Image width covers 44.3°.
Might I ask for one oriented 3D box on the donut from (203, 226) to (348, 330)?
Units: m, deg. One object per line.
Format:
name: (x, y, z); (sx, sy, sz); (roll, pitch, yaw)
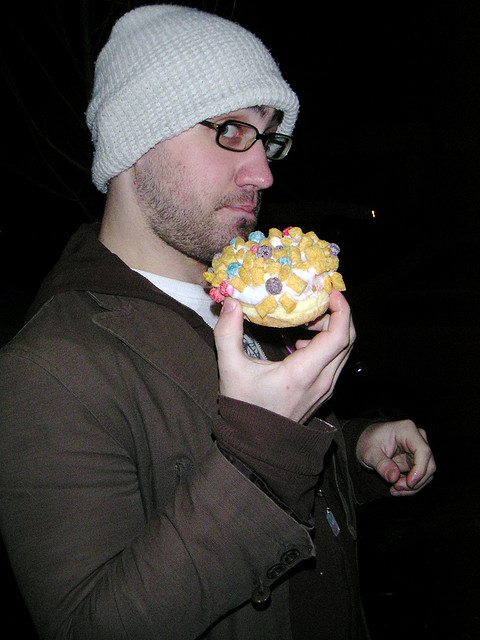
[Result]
donut: (0.127, -0.165, 2.134); (0.448, 0.167, 0.405); (13, 49, 13)

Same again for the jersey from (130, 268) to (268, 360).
jersey: (-0.213, -0.087, 2.610); (0.474, 0.416, 0.463); (10, 14, 43)

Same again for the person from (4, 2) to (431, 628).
person: (-0.248, 0.035, 2.226); (1.372, 2.493, 1.176); (-3, 16, -38)
